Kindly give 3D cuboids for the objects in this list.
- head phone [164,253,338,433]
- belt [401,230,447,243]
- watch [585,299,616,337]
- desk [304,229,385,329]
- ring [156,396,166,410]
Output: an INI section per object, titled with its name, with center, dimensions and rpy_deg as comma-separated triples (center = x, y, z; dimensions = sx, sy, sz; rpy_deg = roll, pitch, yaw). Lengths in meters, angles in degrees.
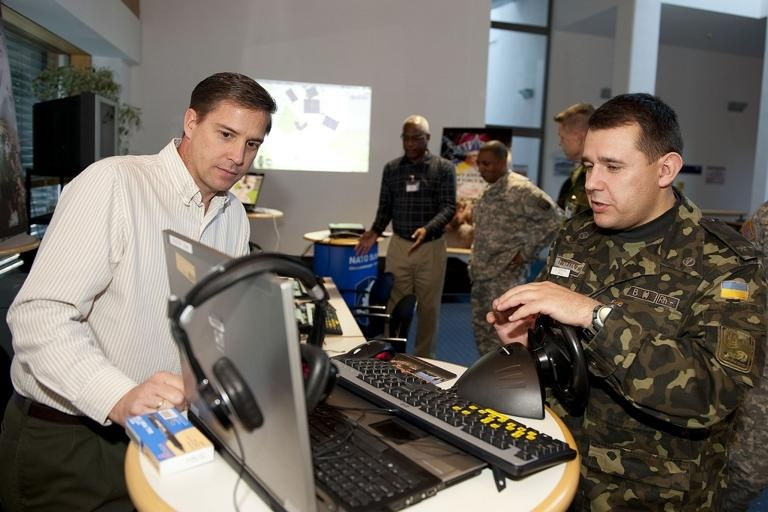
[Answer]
[head phone]
center = -0.353, 0.233, 1.259
dimensions = 0.383, 0.463, 0.170
rpy_deg = -19, 23, -5
[belt]
center = 0.350, -0.171, 4.375
dimensions = 0.206, 0.075, 0.162
rpy_deg = -4, 6, -7
[watch]
center = 0.711, 0.201, 1.625
dimensions = 0.032, 0.097, 0.072
rpy_deg = 35, -7, -23
[desk]
center = -0.330, 0.160, 4.798
dimensions = 0.693, 0.828, 0.681
rpy_deg = -18, 27, -36
[ring]
center = -0.673, 0.446, 1.519
dimensions = 0.030, 0.030, 0.030
rpy_deg = -11, -12, -2
